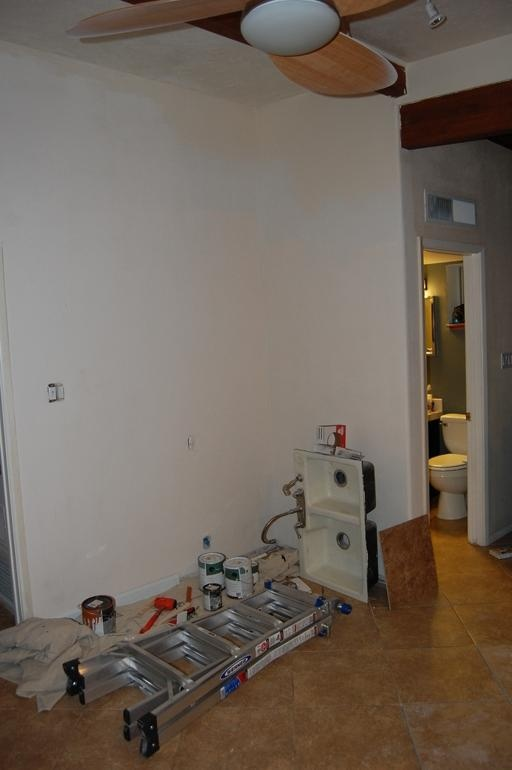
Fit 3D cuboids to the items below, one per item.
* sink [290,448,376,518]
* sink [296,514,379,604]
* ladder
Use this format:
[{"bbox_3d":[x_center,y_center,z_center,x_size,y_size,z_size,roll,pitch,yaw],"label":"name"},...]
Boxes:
[{"bbox_3d":[0.459,0.562,3.616,0.405,0.323,0.133,8,21,37],"label":"sink"},{"bbox_3d":[0.478,0.996,3.592,0.478,0.457,0.171,5,10,43],"label":"sink"},{"bbox_3d":[-0.215,1.207,2.846,0.907,0.162,0.449,-15,17,-42],"label":"ladder"}]
